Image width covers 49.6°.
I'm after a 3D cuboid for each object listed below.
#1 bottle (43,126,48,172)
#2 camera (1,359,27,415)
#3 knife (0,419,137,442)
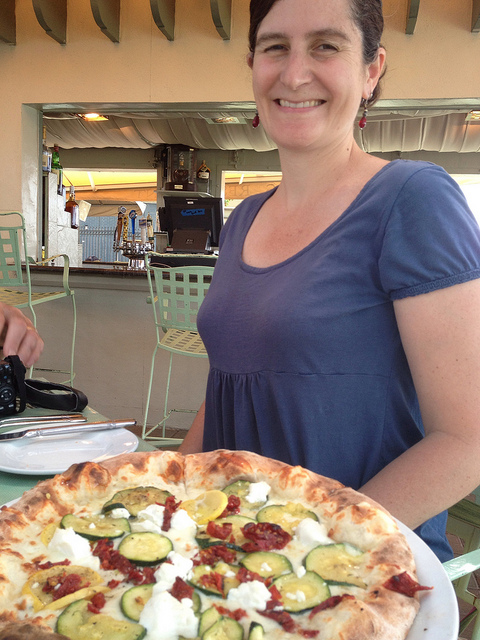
[{"bbox_3d":[-1.739,-1.500,4.614,0.046,0.379,0.175,-4,6,-17],"label":"bottle"},{"bbox_3d":[-0.450,0.130,1.008,0.039,0.104,0.032,-8,9,-44],"label":"camera"},{"bbox_3d":[-0.296,0.189,0.880,0.240,0.026,0.017,-2,38,-16],"label":"knife"}]
